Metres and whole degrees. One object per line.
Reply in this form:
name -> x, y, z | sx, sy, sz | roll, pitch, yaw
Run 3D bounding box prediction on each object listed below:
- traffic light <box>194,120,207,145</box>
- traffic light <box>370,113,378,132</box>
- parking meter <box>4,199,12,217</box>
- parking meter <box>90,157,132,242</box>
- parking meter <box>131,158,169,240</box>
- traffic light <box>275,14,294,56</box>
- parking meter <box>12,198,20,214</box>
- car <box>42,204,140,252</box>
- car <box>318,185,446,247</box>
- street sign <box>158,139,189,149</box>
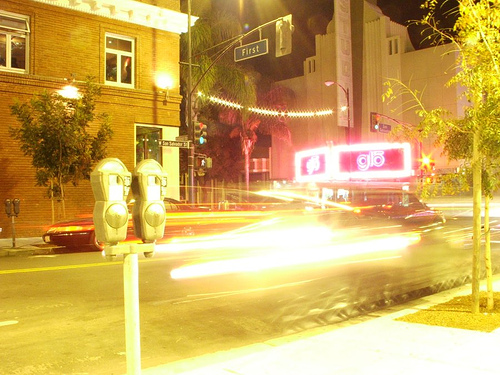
traffic light -> -2.151, -2.349, 19.416 | 0.498, 0.953, 0.721 | -1, 2, -11
traffic light -> 9.258, -4.851, 33.477 | 0.296, 1.452, 1.324 | 4, 1, 23
parking meter -> -8.590, 0.676, 16.054 | 0.181, 0.676, 0.233 | 0, 6, -33
parking meter -> -1.525, 0.136, 4.999 | 0.445, 0.933, 0.256 | -1, 2, -23
parking meter -> -1.167, 0.150, 5.213 | 0.403, 0.987, 0.362 | 3, -4, -42
traffic light -> 1.220, -5.370, 16.102 | 0.617, 1.335, 0.374 | 0, 2, 14
parking meter -> -8.417, 0.678, 16.274 | 0.160, 0.501, 0.225 | -1, 2, -32
car -> -4.099, 1.034, 11.026 | 3.226, 1.238, 1.406 | 5, -9, -34
car -> 5.741, 1.444, 19.873 | 5.485, 2.125, 2.603 | -4, 3, -27
street sign -> -3.152, -1.814, 18.720 | 0.465, 0.264, 1.584 | 1, 2, 29
